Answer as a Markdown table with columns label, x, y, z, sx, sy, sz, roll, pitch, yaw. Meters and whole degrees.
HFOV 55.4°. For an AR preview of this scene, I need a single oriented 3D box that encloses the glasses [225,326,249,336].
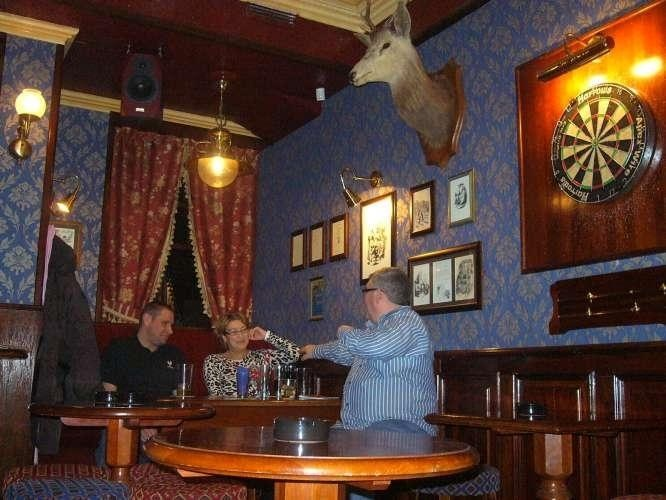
| label | x | y | z | sx | sy | sz | roll | pitch | yaw |
| --- | --- | --- | --- | --- | --- | --- | --- | --- | --- |
| glasses | -0.754 | 0.635 | 4.977 | 0.166 | 0.069 | 0.059 | 4 | -13 | -17 |

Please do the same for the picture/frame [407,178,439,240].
| label | x | y | z | sx | sy | sz | roll | pitch | yaw |
| --- | --- | --- | --- | --- | --- | --- | --- | --- | --- |
| picture/frame | 0.705 | -0.317 | 4.912 | 0.051 | 0.579 | 0.392 | 9 | -12 | -29 |

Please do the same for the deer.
| label | x | y | z | sx | sy | sz | roll | pitch | yaw |
| --- | --- | --- | --- | --- | --- | --- | --- | --- | --- |
| deer | 0.555 | -1.269 | 4.776 | 0.718 | 1.229 | 0.522 | 7 | -14 | -27 |

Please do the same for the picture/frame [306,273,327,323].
| label | x | y | z | sx | sy | sz | roll | pitch | yaw |
| --- | --- | --- | --- | --- | --- | --- | --- | --- | --- |
| picture/frame | -0.155 | 0.467 | 6.142 | 0.054 | 0.530 | 0.430 | 1 | -4 | -21 |

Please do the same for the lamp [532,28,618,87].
| label | x | y | z | sx | sy | sz | roll | pitch | yaw |
| --- | --- | --- | --- | --- | --- | --- | --- | --- | --- |
| lamp | 1.458 | -1.217 | 3.837 | 0.205 | 0.289 | 0.440 | 11 | -17 | -40 |

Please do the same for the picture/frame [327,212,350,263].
| label | x | y | z | sx | sy | sz | roll | pitch | yaw |
| --- | --- | --- | --- | --- | --- | --- | --- | --- | --- |
| picture/frame | 0.059 | -0.114 | 5.882 | 0.035 | 0.501 | 0.378 | 6 | -11 | -30 |

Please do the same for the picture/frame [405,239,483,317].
| label | x | y | z | sx | sy | sz | roll | pitch | yaw |
| --- | --- | --- | --- | --- | --- | --- | --- | --- | --- |
| picture/frame | 0.825 | 0.210 | 4.597 | 0.025 | 0.406 | 0.525 | 3 | -6 | -38 |

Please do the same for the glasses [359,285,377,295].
| label | x | y | z | sx | sy | sz | roll | pitch | yaw |
| --- | --- | --- | --- | --- | --- | --- | --- | --- | --- |
| glasses | 0.213 | 0.251 | 3.980 | 0.086 | 0.028 | 0.085 | 4 | 1 | 38 |

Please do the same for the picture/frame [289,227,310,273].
| label | x | y | z | sx | sy | sz | roll | pitch | yaw |
| --- | --- | --- | --- | --- | --- | --- | --- | --- | --- |
| picture/frame | -0.338 | 0.001 | 6.479 | 0.026 | 0.412 | 0.384 | 4 | -11 | -21 |

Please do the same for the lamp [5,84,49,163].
| label | x | y | z | sx | sy | sz | roll | pitch | yaw |
| --- | --- | --- | --- | --- | --- | --- | --- | --- | --- |
| lamp | -2.438 | -1.044 | 5.077 | 0.248 | 0.637 | 0.335 | 6 | -14 | -27 |

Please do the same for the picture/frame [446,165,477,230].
| label | x | y | z | sx | sy | sz | roll | pitch | yaw |
| --- | --- | --- | --- | --- | --- | --- | --- | --- | --- |
| picture/frame | 0.937 | -0.378 | 4.600 | 0.036 | 0.550 | 0.375 | 10 | -14 | -31 |

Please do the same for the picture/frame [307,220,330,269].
| label | x | y | z | sx | sy | sz | roll | pitch | yaw |
| --- | --- | --- | --- | --- | --- | --- | --- | --- | --- |
| picture/frame | -0.138 | -0.050 | 6.182 | 0.030 | 0.490 | 0.390 | 5 | -9 | -29 |

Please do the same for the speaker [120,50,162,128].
| label | x | y | z | sx | sy | sz | roll | pitch | yaw |
| --- | --- | --- | --- | --- | --- | --- | --- | --- | --- |
| speaker | -1.659 | -1.430 | 5.520 | 0.325 | 0.532 | 0.182 | 5 | -13 | -20 |
